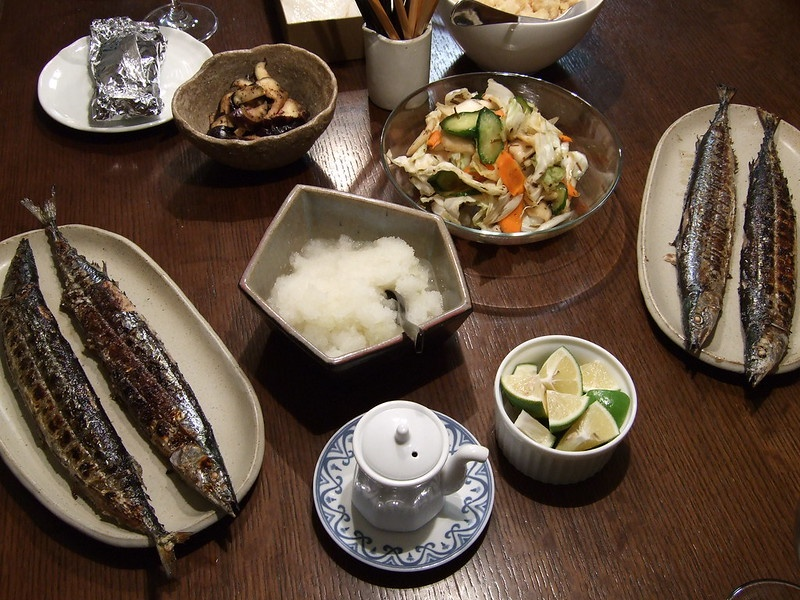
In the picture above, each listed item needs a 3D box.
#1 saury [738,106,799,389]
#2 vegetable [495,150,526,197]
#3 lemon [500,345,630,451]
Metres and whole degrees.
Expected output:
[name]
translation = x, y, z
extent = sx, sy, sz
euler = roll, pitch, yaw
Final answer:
[saury]
translation = 1.040, -0.263, 2.040
extent = 0.140, 0.109, 1.032
euler = 1, 55, 24
[vegetable]
translation = 0.311, -0.354, 2.026
extent = 0.056, 0.029, 0.139
euler = -21, 90, 4
[lemon]
translation = 0.396, 0.236, 1.701
extent = 0.196, 0.085, 0.238
euler = 27, 60, 31
